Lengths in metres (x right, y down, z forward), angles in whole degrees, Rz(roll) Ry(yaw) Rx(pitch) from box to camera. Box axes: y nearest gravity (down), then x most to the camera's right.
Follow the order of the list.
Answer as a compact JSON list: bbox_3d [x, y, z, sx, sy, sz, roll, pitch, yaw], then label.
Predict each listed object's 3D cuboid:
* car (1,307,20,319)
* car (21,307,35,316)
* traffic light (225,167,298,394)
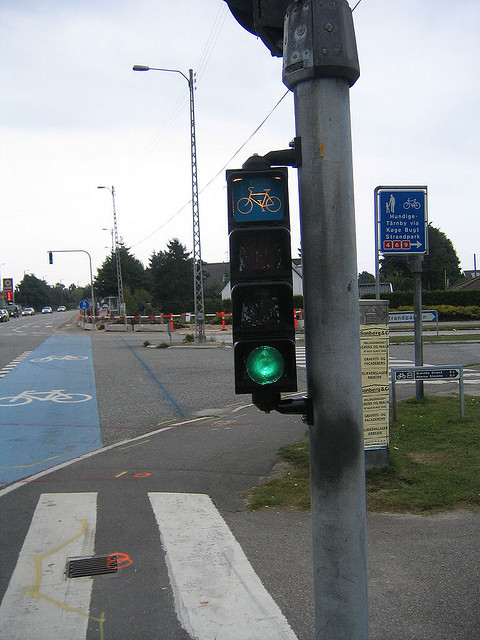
[{"bbox_3d":[-32.488,-1.177,92.435,1.777,1.633,3.098,0,-6,-7],"label":"car"},{"bbox_3d":[-32.727,-1.442,99.845,1.197,0.933,1.909,-1,-7,-10],"label":"car"},{"bbox_3d":[0.092,-0.167,2.758,0.269,0.953,0.174,-2,2,2],"label":"traffic light"}]
